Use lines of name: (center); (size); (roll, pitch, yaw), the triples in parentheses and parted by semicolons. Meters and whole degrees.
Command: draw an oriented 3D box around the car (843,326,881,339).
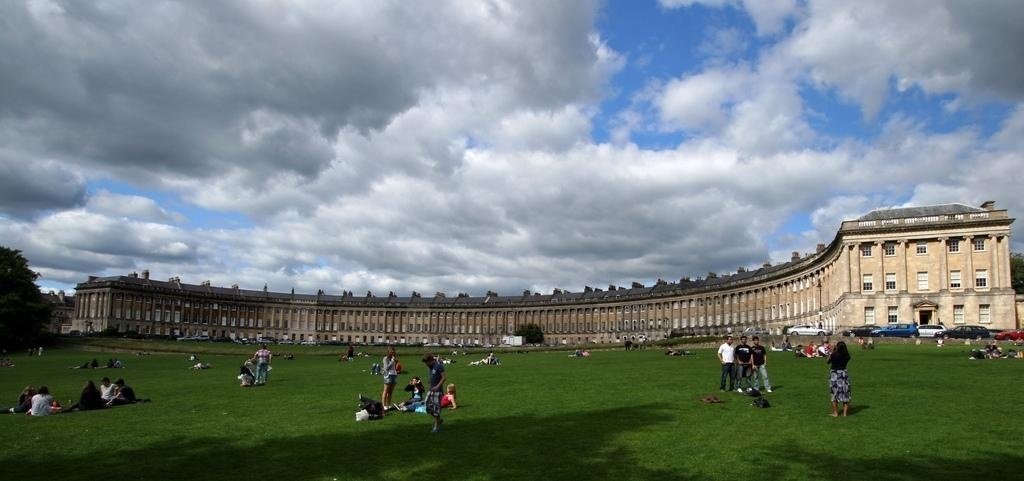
car: (49.493, 13.140, 73.516); (4.686, 1.156, 1.935); (0, -5, 18)

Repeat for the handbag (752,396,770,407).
handbag: (15.822, 10.461, 33.204); (1.022, 0.442, 0.761); (-3, -4, 26)

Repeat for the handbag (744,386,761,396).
handbag: (16.241, 10.327, 35.159); (1.266, 0.391, 0.393); (5, -3, -39)

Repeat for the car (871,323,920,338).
car: (52.786, 12.743, 71.674); (5.394, 1.414, 2.557); (1, -4, 14)

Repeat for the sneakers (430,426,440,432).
sneakers: (-4.461, 11.104, 30.317); (0.692, 0.208, 0.198); (2, -12, -16)
